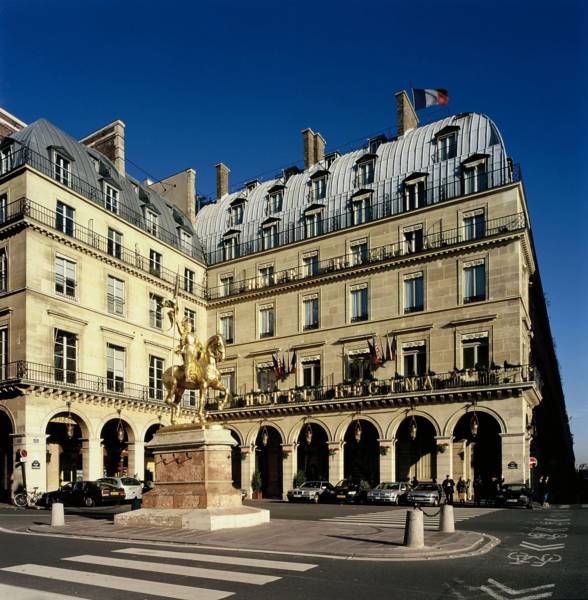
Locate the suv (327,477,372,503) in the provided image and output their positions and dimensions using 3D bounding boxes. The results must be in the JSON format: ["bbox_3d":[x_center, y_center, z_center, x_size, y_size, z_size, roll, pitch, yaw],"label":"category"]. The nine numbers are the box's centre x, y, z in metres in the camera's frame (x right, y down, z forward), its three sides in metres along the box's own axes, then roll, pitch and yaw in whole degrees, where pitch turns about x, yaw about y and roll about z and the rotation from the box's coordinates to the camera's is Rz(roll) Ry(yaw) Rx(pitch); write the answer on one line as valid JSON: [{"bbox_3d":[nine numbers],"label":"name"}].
[{"bbox_3d":[3.065,9.969,76.138,1.680,1.408,1.930,-11,-16,36],"label":"suv"}]

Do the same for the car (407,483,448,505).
[{"bbox_3d":[6.507,9.398,70.597,1.364,0.984,2.230,-7,-31,14],"label":"car"}]

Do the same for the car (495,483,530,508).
[{"bbox_3d":[10.686,9.542,71.009,1.587,1.145,0.883,-3,-13,7],"label":"car"}]

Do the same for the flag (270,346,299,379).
[{"bbox_3d":[-0.374,3.619,84.256,1.734,1.990,0.213,-7,-21,8],"label":"flag"}]

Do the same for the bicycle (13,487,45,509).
[{"bbox_3d":[-12.893,9.791,71.848,1.587,0.964,0.787,20,-32,-36],"label":"bicycle"}]

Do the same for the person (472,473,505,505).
[{"bbox_3d":[9.932,9.687,74.522,1.650,1.600,0.943,-6,-45,27],"label":"person"}]

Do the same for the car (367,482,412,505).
[{"bbox_3d":[4.798,9.756,73.420,1.939,1.316,1.845,-3,-13,6],"label":"car"}]

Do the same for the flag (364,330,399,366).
[{"bbox_3d":[4.890,2.633,79.635,1.324,1.709,0.620,-4,-15,17],"label":"flag"}]

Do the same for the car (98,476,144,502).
[{"bbox_3d":[-8.125,9.371,72.138,2.363,0.795,1.100,-6,-10,45],"label":"car"}]

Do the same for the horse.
[{"bbox_3d":[-3.979,3.488,61.141,1.237,3.580,3.469,9,-17,-39],"label":"horse"}]
